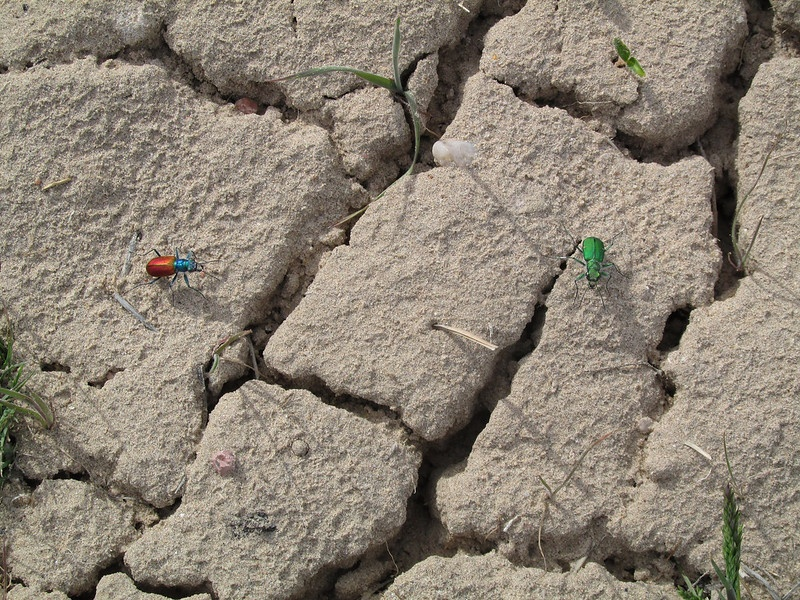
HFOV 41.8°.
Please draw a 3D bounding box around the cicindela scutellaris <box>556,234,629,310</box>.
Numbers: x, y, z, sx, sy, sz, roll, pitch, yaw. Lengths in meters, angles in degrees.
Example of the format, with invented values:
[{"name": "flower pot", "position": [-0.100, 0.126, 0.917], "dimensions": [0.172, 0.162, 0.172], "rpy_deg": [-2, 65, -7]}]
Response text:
[{"name": "cicindela scutellaris", "position": [1.061, -0.123, 5.679], "dimensions": [0.245, 0.095, 0.375], "rpy_deg": [2, 75, 7]}]
